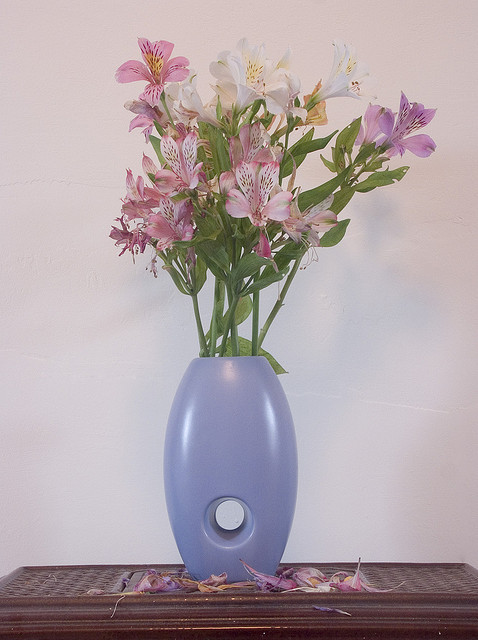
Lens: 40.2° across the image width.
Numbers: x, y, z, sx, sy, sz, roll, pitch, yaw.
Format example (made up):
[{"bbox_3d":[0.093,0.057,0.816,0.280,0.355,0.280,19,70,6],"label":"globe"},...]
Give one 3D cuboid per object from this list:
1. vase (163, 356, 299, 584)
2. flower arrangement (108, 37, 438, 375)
[{"bbox_3d":[-0.013,0.161,0.729,0.140,0.240,0.113,6,13,29],"label":"vase"},{"bbox_3d":[0.029,-0.123,0.814,0.362,0.378,0.342,-7,13,-34],"label":"flower arrangement"}]
